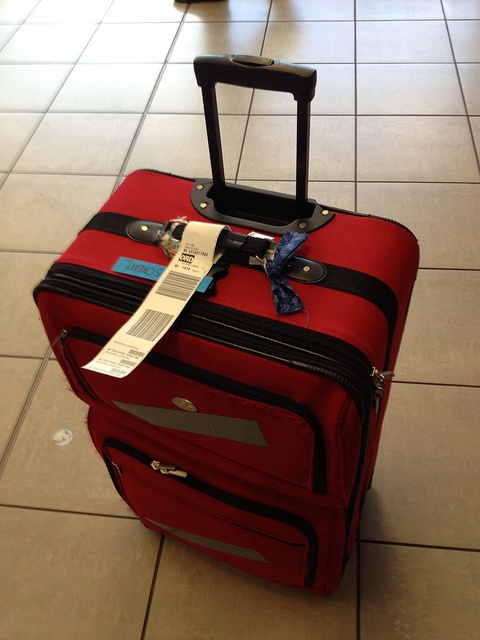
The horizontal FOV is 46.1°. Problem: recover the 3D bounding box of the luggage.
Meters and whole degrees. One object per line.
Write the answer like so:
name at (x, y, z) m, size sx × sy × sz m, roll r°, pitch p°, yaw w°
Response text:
luggage at (-0.015, 0.129, 0.999) m, size 0.518 × 1.050 × 0.412 m, roll 12°, pitch 52°, yaw 15°
